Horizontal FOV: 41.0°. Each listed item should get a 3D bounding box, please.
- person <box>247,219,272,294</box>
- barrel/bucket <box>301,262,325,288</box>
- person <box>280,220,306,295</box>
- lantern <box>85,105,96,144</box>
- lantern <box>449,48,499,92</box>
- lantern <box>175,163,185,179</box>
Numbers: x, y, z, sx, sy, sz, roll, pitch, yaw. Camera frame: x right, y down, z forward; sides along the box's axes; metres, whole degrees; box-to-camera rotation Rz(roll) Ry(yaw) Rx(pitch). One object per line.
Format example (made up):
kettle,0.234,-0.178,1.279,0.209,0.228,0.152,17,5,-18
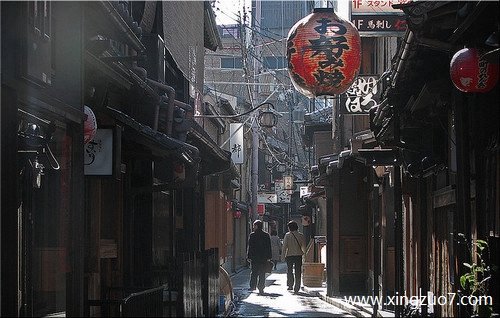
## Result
person,0.330,3.356,23.074,0.920,2.356,0.910,0,0,2
barrel/bucket,2.441,4.333,25.139,1.067,0.919,1.163,0,-1,0
person,1.536,3.460,23.707,0.922,2.385,0.921,0,0,2
lantern,-2.836,-0.617,11.772,0.191,0.687,0.470,1,-14,-10
lantern,3.519,-1.321,10.625,0.651,0.808,0.677,1,-1,3
lantern,-1.954,0.332,18.458,0.198,0.284,0.371,-13,2,-10
